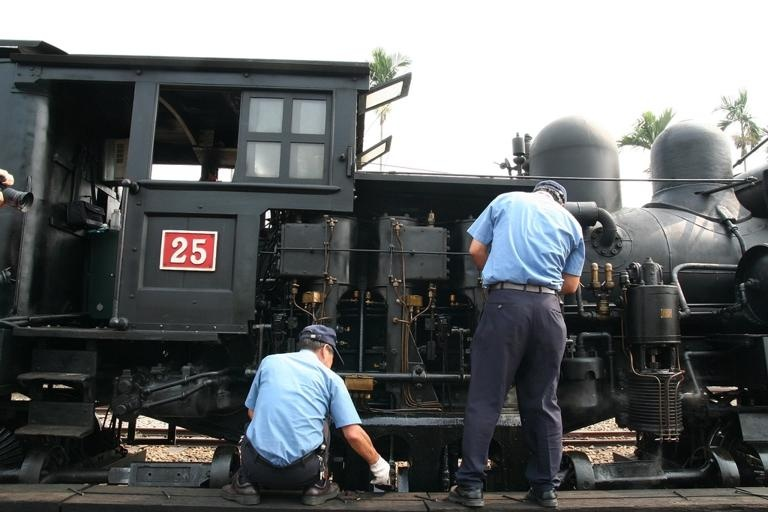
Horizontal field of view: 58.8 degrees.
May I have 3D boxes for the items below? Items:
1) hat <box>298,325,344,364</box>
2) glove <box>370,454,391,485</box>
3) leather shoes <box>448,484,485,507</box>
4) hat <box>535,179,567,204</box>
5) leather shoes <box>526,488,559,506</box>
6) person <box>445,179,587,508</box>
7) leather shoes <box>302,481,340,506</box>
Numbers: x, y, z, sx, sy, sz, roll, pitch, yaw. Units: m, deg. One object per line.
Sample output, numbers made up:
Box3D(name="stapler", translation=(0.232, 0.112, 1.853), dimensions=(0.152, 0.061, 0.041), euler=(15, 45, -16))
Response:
Box3D(name="hat", translation=(-0.580, 0.835, 6.715), dimensions=(0.333, 0.263, 0.510), euler=(1, -18, 37))
Box3D(name="glove", translation=(-0.060, 1.987, 6.365), dimensions=(0.211, 0.283, 0.282), euler=(1, -21, -2))
Box3D(name="leather shoes", translation=(0.764, 2.166, 6.181), dimensions=(0.141, 0.145, 0.340), euler=(4, -7, -20))
Box3D(name="hat", translation=(1.687, -0.590, 6.748), dimensions=(0.261, 0.171, 0.297), euler=(16, 3, 30))
Box3D(name="leather shoes", translation=(1.469, 2.202, 6.286), dimensions=(0.119, 0.125, 0.320), euler=(3, -6, -21))
Box3D(name="person", translation=(1.250, 0.783, 6.397), dimensions=(1.239, 2.950, 0.612), euler=(1, 2, 0))
Box3D(name="leather shoes", translation=(-0.597, 2.177, 6.301), dimensions=(0.145, 0.244, 0.387), euler=(0, -3, 37))
